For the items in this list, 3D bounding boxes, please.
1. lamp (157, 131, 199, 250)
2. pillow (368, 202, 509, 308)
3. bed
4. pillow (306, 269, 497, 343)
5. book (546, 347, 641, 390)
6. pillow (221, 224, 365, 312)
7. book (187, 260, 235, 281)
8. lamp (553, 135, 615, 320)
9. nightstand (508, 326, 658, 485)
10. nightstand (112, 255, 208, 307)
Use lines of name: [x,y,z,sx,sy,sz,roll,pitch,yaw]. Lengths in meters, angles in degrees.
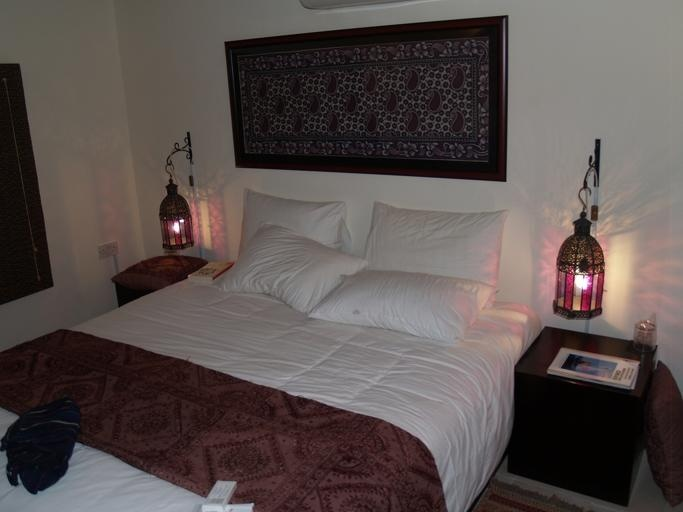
lamp: [-1.356,-0.509,3.845,0.282,0.992,0.523,-3,16,-20]
pillow: [0.548,-0.139,2.974,0.797,0.585,0.291,7,56,13]
bed: [-0.094,0.548,2.095,1.362,0.344,1.429,7,13,24]
pillow: [0.396,0.227,2.807,1.018,0.289,0.638,3,23,33]
book: [1.289,0.565,2.389,0.382,0.083,0.300,14,18,34]
pillow: [-0.352,0.097,3.132,0.920,0.260,0.608,20,45,35]
book: [-0.970,0.107,3.437,0.154,0.045,0.227,1,17,14]
lamp: [1.365,-0.122,2.577,0.261,1.009,0.327,11,17,31]
nightstand: [1.299,0.781,2.669,0.690,0.720,0.737,10,26,27]
nightstand: [-1.494,0.150,3.705,0.476,0.249,0.492,7,15,28]
